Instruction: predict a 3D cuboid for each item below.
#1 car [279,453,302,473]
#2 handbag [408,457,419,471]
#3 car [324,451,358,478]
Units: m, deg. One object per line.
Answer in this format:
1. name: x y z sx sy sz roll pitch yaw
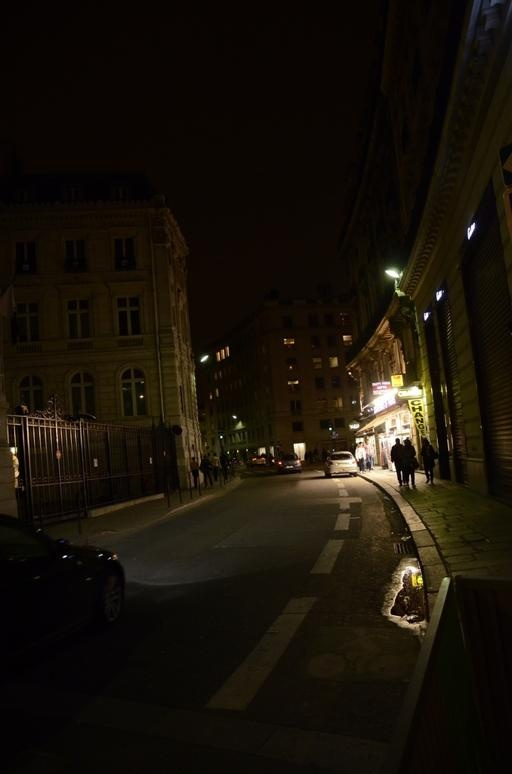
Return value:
1. car: 2.754 6.328 42.493 1.709 1.554 1.678 -4 -7 -3
2. handbag: 5.296 2.567 17.445 0.130 0.368 0.994 -7 -7 27
3. car: 4.958 4.470 29.990 1.593 1.453 2.093 -1 -8 -29
